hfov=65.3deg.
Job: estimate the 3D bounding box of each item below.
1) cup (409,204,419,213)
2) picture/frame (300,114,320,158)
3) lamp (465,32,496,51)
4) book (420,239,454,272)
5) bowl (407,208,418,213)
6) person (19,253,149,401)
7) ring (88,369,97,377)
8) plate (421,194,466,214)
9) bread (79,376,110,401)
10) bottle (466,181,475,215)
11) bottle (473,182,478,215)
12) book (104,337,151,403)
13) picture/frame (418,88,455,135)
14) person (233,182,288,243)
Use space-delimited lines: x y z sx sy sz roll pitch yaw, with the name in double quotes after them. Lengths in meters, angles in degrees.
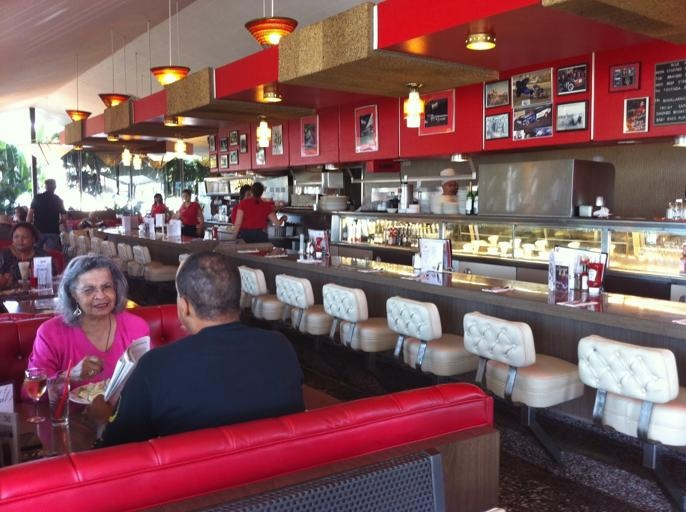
1.009 -0.685 7.596 0.113 0.084 0.110 -1 11 0 "cup"
-0.573 -2.143 9.468 0.052 0.812 0.670 -3 7 -30 "picture/frame"
1.213 -1.895 4.722 0.231 0.105 0.187 -2 10 5 "lamp"
0.894 -0.010 5.183 0.094 0.269 0.266 -9 13 -40 "book"
0.984 -0.659 7.594 0.086 0.055 0.086 0 7 0 "bowl"
-1.553 0.406 3.125 0.749 1.020 0.551 -4 6 -44 "person"
-1.231 0.573 2.637 0.020 0.024 0.028 1 -7 -4 "ring"
1.337 -0.688 7.370 0.296 0.174 0.429 0 3 -14 "plate"
-1.207 0.639 2.594 0.093 0.036 0.094 -5 11 -37 "bread"
1.661 -0.751 6.980 0.122 0.378 0.340 1 10 16 "bottle"
1.710 -0.727 6.889 0.062 0.353 0.364 0 10 12 "bottle"
-0.958 0.506 2.372 0.074 0.253 0.184 25 3 4 "book"
1.262 -1.935 7.107 0.053 0.712 0.734 -5 8 -37 "picture/frame"
-1.378 -0.424 8.769 0.741 1.594 0.428 -3 32 -19 "person"
